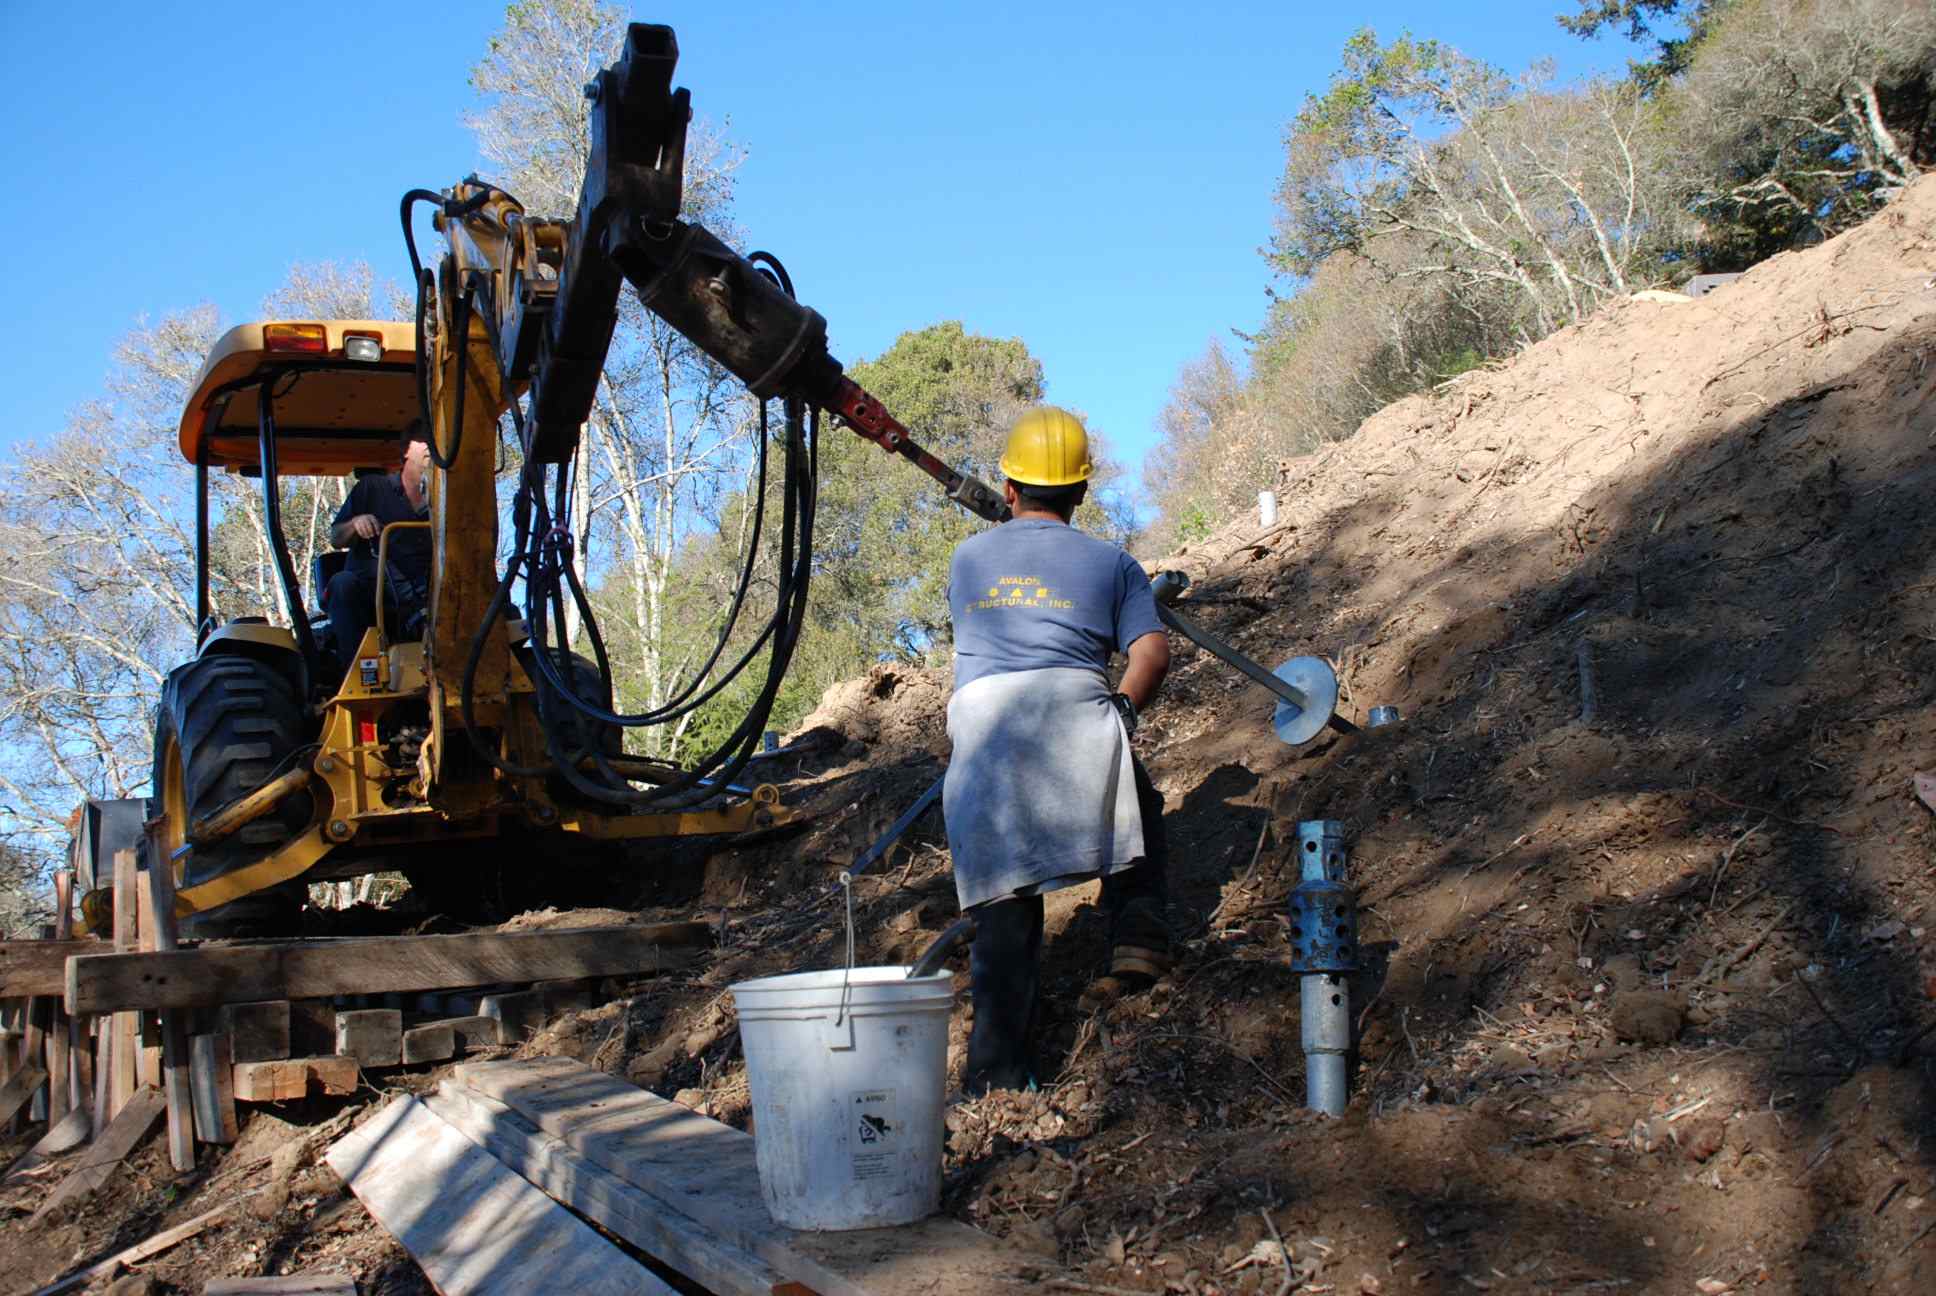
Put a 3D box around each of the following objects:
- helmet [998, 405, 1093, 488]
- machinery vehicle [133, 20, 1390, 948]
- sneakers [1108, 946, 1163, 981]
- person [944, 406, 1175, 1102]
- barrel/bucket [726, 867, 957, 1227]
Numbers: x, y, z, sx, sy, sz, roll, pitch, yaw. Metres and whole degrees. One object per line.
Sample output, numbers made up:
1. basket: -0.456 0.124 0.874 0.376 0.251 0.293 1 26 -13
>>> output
1. helmet: 0.352 -0.940 8.977 0.421 0.302 0.553 2 24 -1
2. machinery vehicle: -2.669 -0.429 10.686 2.697 3.389 5.701 1 -19 -35
3. sneakers: 0.724 1.349 8.771 0.181 0.142 0.149 -3 -12 43
4. person: 0.351 0.339 8.650 1.110 2.835 0.847 -9 -14 -1
5. barrel/bucket: -0.453 1.755 8.291 0.901 1.305 1.075 -2 -4 0
